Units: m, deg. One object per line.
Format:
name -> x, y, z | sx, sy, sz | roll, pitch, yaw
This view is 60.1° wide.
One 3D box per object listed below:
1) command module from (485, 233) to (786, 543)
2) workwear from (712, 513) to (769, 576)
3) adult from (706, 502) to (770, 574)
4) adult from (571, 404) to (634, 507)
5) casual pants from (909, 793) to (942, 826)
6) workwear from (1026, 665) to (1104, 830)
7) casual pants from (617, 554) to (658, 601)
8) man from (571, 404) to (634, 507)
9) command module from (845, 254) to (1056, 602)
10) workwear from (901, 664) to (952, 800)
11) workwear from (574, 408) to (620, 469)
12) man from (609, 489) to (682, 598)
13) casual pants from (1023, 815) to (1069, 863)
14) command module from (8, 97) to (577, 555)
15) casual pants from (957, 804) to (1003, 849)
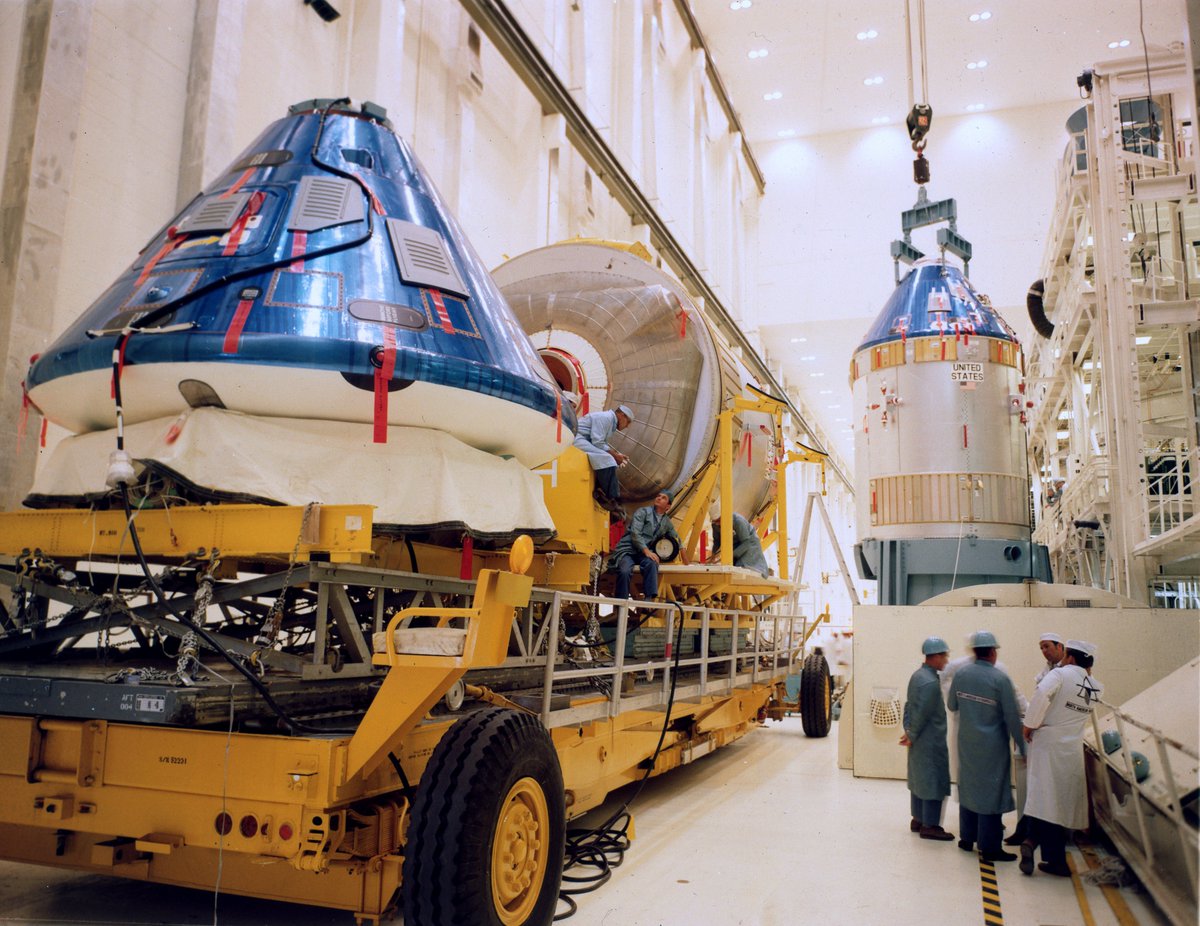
command module -> 0.373, -1.309, 12.033 | 2.833, 3.380, 1.304 | 2, 17, 22
workwear -> 1.777, 1.049, 13.275 | 0.480, 0.797, 0.425 | -16, -45, -14
adult -> 1.795, 0.998, 13.781 | 0.696, 1.137, 0.605 | -18, 1, -11
adult -> -0.019, -0.130, 10.942 | 0.586, 1.116, 0.416 | 15, -23, 4
casual pants -> 3.093, 3.304, 9.808 | 0.255, 0.482, 0.348 | 0, -9, 13
workwear -> 4.028, 2.470, 9.044 | 0.663, 1.377, 0.376 | -3, -8, 15
casual pants -> 0.378, 1.157, 10.670 | 0.460, 0.428, 0.594 | 6, 27, 3
man -> 0.014, -0.125, 10.933 | 0.616, 1.105, 0.407 | 17, -22, 1
command module -> 6.243, -0.562, 18.911 | 2.832, 6.115, 1.244 | -4, -9, 21
workwear -> 3.139, 2.577, 9.949 | 0.380, 1.237, 0.397 | -3, -8, 15
workwear -> -0.047, -0.218, 10.800 | 0.514, 0.736, 0.509 | 5, -28, 1
man -> 0.518, 0.874, 10.921 | 0.649, 1.215, 0.629 | 11, 1, -11
casual pants -> 3.877, 3.260, 8.968 | 0.203, 0.494, 0.455 | -8, -4, 41
command module -> -2.187, -1.150, 8.991 | 3.387, 2.679, 3.482 | 3, -7, -7
casual pants -> 3.419, 3.251, 9.255 | 0.379, 0.534, 0.292 | -8, -19, 37
